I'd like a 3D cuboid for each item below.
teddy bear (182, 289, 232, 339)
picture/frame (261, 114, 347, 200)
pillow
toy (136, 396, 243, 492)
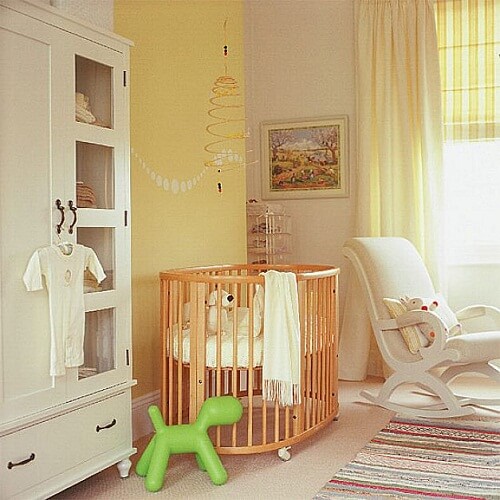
[{"bbox_3d":[-0.161,0.315,2.511,0.144,0.265,0.354,6,-13,-45],"label":"teddy bear"},{"bbox_3d":[0.517,-0.850,4.530,0.743,0.709,0.060,0,-1,20],"label":"picture/frame"},{"bbox_3d":[0.995,0.441,3.093,0.141,0.337,0.480,-36,-19,35],"label":"pillow"},{"bbox_3d":[-0.276,0.847,2.277,0.450,0.372,0.292,-1,0,-9],"label":"toy"}]
